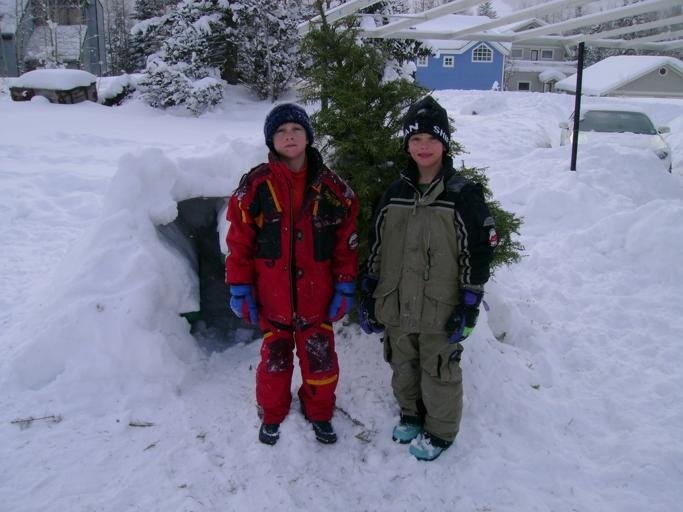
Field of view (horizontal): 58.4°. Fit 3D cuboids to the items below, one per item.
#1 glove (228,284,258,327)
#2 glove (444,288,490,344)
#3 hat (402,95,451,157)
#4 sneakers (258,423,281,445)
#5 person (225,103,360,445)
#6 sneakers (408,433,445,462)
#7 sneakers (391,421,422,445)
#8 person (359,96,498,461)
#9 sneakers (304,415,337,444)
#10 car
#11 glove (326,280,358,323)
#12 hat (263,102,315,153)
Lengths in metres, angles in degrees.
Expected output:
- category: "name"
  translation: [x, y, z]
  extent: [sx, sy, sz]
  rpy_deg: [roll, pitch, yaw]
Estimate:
- category: "glove"
  translation: [-0.966, 0.491, 6.178]
  extent: [0.267, 0.388, 0.170]
  rpy_deg: [-1, 21, 24]
- category: "glove"
  translation: [1.206, 0.569, 5.930]
  extent: [0.336, 0.557, 0.163]
  rpy_deg: [20, 12, 33]
- category: "hat"
  translation: [0.828, -1.318, 5.974]
  extent: [0.385, 0.494, 0.551]
  rpy_deg: [-1, 18, 4]
- category: "sneakers"
  translation: [-0.731, 1.789, 6.182]
  extent: [0.139, 0.248, 0.235]
  rpy_deg: [18, -8, -25]
- category: "person"
  translation: [-0.486, 0.151, 6.189]
  extent: [1.338, 3.288, 0.766]
  rpy_deg: [-3, 13, -12]
- category: "sneakers"
  translation: [0.840, 1.892, 6.048]
  extent: [0.351, 0.212, 0.177]
  rpy_deg: [1, -24, 2]
- category: "sneakers"
  translation: [0.654, 1.796, 6.214]
  extent: [0.311, 0.150, 0.163]
  rpy_deg: [10, 9, -40]
- category: "person"
  translation: [0.857, 0.222, 6.081]
  extent: [0.848, 3.475, 1.106]
  rpy_deg: [-12, 17, -41]
- category: "sneakers"
  translation: [-0.220, 1.774, 6.247]
  extent: [0.325, 0.148, 0.134]
  rpy_deg: [17, 10, 34]
- category: "car"
  translation: [5.794, -2.633, 13.046]
  extent: [1.860, 1.097, 2.503]
  rpy_deg: [3, 15, 15]
- category: "glove"
  translation: [0.004, 0.475, 6.261]
  extent: [0.220, 0.413, 0.157]
  rpy_deg: [21, 1, 20]
- category: "hat"
  translation: [-0.571, -1.385, 6.355]
  extent: [0.426, 0.431, 0.540]
  rpy_deg: [-4, -5, -15]
